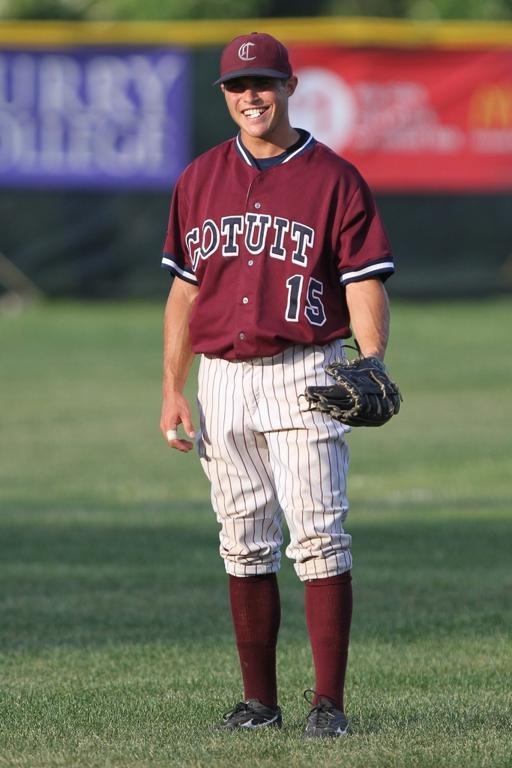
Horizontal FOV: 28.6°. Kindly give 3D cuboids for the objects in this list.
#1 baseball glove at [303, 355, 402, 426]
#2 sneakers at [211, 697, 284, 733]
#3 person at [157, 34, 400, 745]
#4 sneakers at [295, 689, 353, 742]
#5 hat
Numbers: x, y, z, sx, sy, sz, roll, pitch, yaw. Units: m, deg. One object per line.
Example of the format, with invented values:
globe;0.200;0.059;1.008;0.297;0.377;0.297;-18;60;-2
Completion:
baseball glove;0.224;0.008;2.315;0.227;0.158;0.089;-9;-32;-30
sneakers;-0.024;0.817;2.458;0.161;0.059;0.061;0;0;-5
person;0.000;-0.009;2.545;0.631;1.731;0.338;-2;3;36
sneakers;0.166;0.807;2.432;0.112;0.104;0.175;-3;2;2
hat;-0.007;-0.811;2.463;0.167;0.107;0.205;1;29;12
